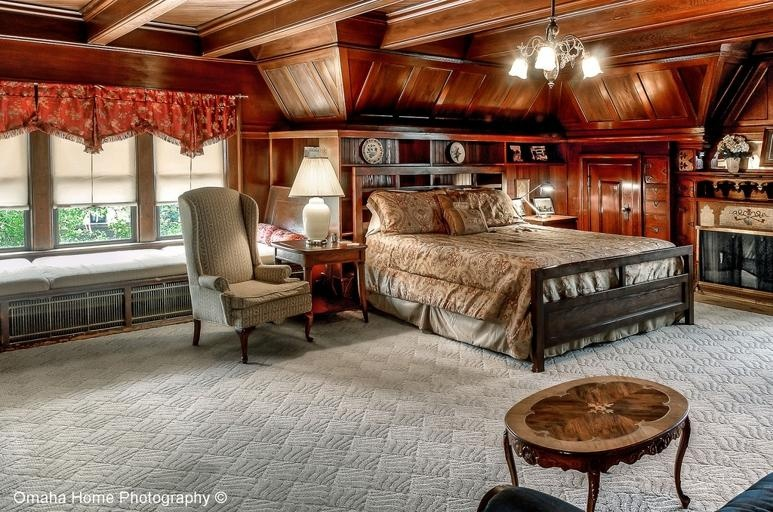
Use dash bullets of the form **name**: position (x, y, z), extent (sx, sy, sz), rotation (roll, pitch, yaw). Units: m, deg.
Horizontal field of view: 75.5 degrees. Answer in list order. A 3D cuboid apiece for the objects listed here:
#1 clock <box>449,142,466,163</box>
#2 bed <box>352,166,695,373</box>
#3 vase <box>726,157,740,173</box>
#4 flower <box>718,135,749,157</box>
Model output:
- **clock**: position (1.049, -1.602, 7.742), extent (0.375, 0.286, 0.087), rotation (2, -3, -44)
- **bed**: position (1.260, 0.180, 6.302), extent (3.121, 1.310, 2.884), rotation (-5, 6, -35)
- **vase**: position (4.888, -1.294, 7.077), extent (0.172, 0.237, 0.189), rotation (1, 10, 30)
- **flower**: position (4.882, -1.565, 7.047), extent (0.376, 0.178, 0.384), rotation (4, 15, 29)
